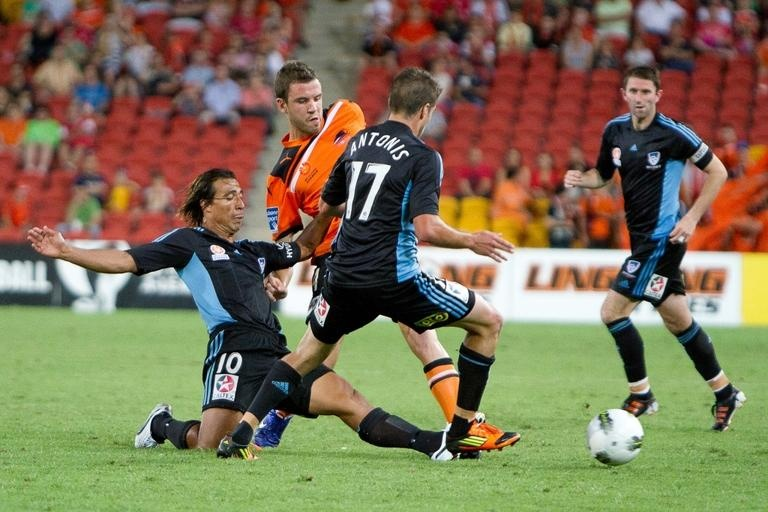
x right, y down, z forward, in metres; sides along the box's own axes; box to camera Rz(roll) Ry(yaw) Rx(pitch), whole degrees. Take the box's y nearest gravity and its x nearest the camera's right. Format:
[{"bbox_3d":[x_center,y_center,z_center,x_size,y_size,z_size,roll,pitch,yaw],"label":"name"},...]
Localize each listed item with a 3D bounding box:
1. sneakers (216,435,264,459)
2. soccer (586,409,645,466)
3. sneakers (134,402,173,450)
[{"bbox_3d":[-1.270,1.766,8.865,0.448,0.212,0.156,14,29,-21],"label":"sneakers"},{"bbox_3d":[2.049,1.687,8.857,0.529,0.505,0.516,11,-6,-12],"label":"soccer"},{"bbox_3d":[-2.185,1.627,9.109,0.246,0.536,0.201,-6,-40,40],"label":"sneakers"}]
